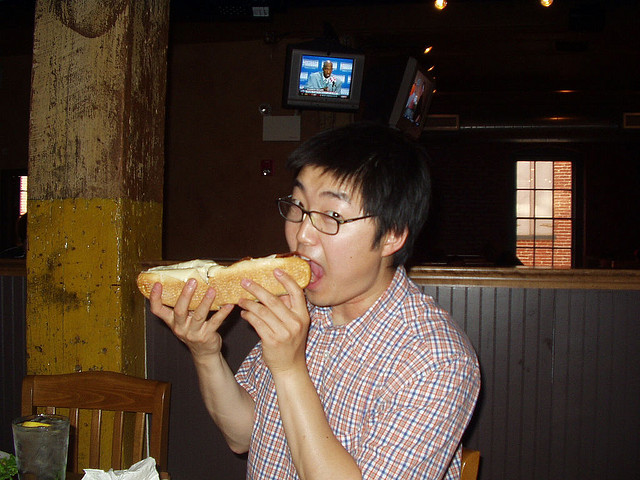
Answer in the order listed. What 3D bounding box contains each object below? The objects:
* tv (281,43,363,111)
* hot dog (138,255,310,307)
[{"bbox_3d":[0.024,-1.705,5.685,0.805,0.610,0.449,0,30,-13],"label":"tv"},{"bbox_3d":[-0.432,0.196,2.590,0.710,0.236,0.169,-7,20,7],"label":"hot dog"}]
